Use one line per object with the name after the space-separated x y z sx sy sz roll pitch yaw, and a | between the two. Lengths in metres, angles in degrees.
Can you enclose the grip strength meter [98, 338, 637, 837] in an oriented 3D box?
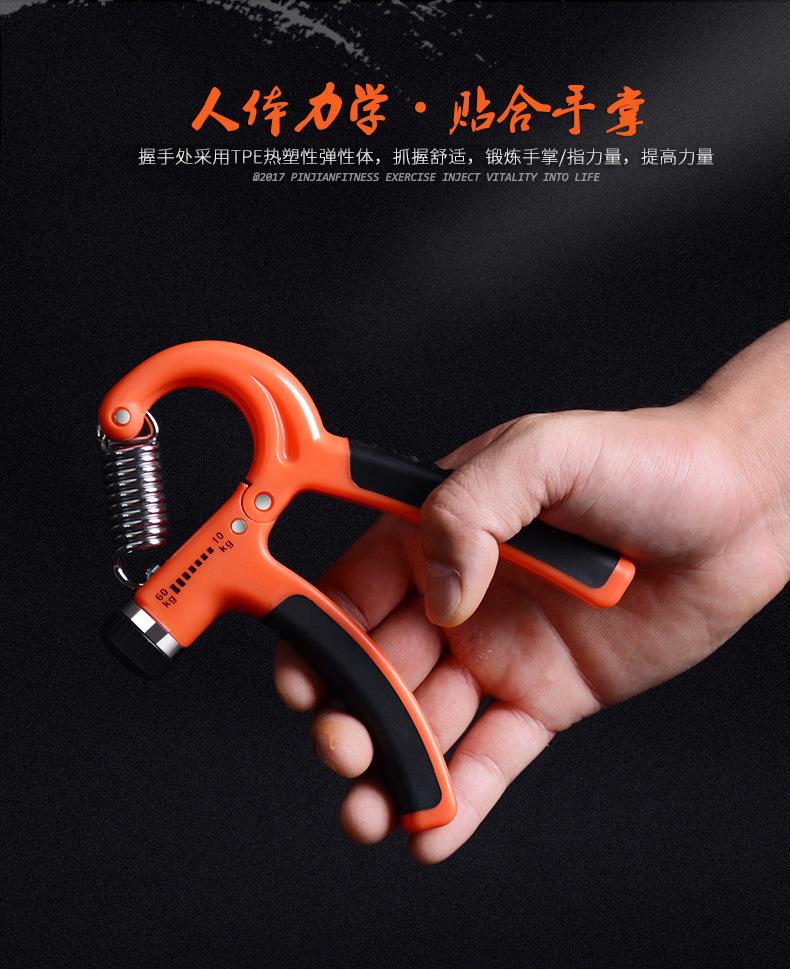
-0.019 0.068 0.830 0.606 0.094 0.313 20 96 30 | grip strength meter
